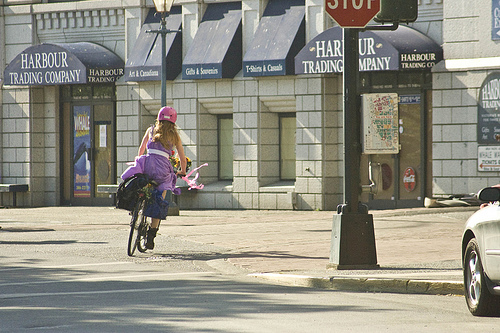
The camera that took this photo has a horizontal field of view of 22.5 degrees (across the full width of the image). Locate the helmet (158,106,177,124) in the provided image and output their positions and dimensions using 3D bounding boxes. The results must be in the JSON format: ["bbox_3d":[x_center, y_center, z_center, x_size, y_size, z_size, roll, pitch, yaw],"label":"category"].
[{"bbox_3d":[-1.915,-1.203,28.521,0.395,0.390,0.447,1,-2,-5],"label":"helmet"}]

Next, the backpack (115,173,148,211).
[{"bbox_3d":[-2.658,0.539,28.044,0.713,0.848,0.263,0,-1,1],"label":"backpack"}]
